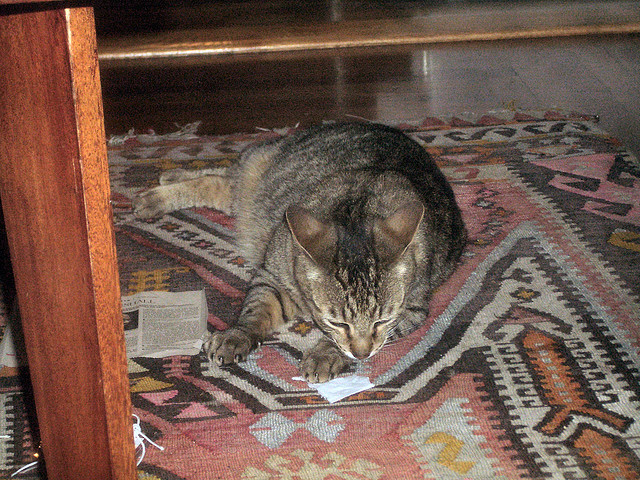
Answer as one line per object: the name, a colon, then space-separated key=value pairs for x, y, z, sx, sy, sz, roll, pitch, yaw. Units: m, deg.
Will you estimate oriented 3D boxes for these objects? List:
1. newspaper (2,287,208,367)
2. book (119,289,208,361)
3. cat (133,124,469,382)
newspaper: x=-0.530 y=0.226 z=1.669 sx=0.351 sy=0.039 sz=0.232 roll=0 pitch=30 yaw=-5
book: x=-0.494 y=0.273 z=2.129 sx=0.360 sy=0.039 sz=0.269 roll=-3 pitch=42 yaw=-14
cat: x=0.039 y=0.015 z=2.415 sx=1.341 sy=0.401 sz=1.067 roll=5 pitch=36 yaw=8
